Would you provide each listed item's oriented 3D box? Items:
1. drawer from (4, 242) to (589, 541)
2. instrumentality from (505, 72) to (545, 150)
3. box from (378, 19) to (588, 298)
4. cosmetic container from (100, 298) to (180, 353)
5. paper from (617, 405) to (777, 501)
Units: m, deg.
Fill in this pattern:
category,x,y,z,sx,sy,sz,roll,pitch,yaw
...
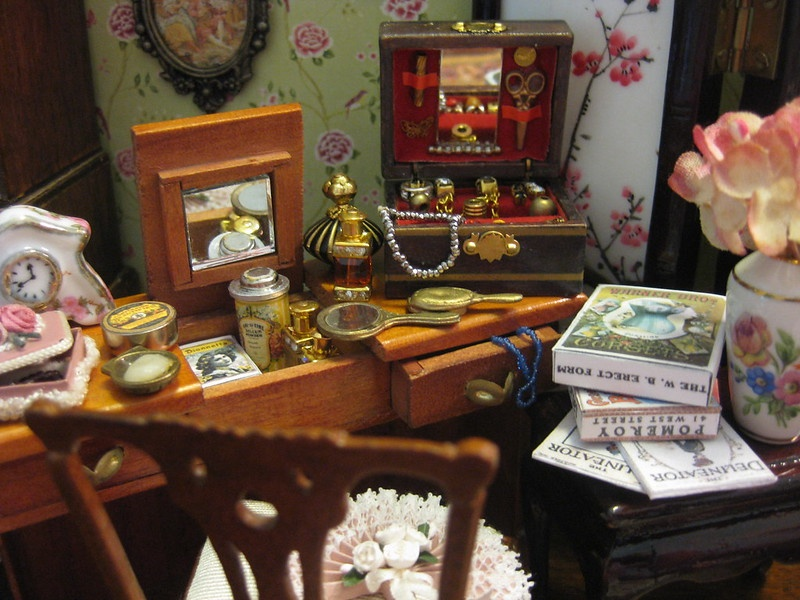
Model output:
category,x,y,z,sx,sy,sz,roll,pitch,yaw
drawer,-0.146,0.162,1.230,1.016,0.357,0.444,-16,35,-22
instrumentality,0.270,-0.411,1.464,0.088,0.164,0.031,9,16,26
box,0.165,-0.294,1.399,0.439,0.506,0.366,-5,33,-7
cosmetic container,-0.483,0.055,1.241,0.128,0.061,0.129,22,32,33
paper,0.499,0.277,1.147,0.222,0.059,0.133,-6,23,-10
